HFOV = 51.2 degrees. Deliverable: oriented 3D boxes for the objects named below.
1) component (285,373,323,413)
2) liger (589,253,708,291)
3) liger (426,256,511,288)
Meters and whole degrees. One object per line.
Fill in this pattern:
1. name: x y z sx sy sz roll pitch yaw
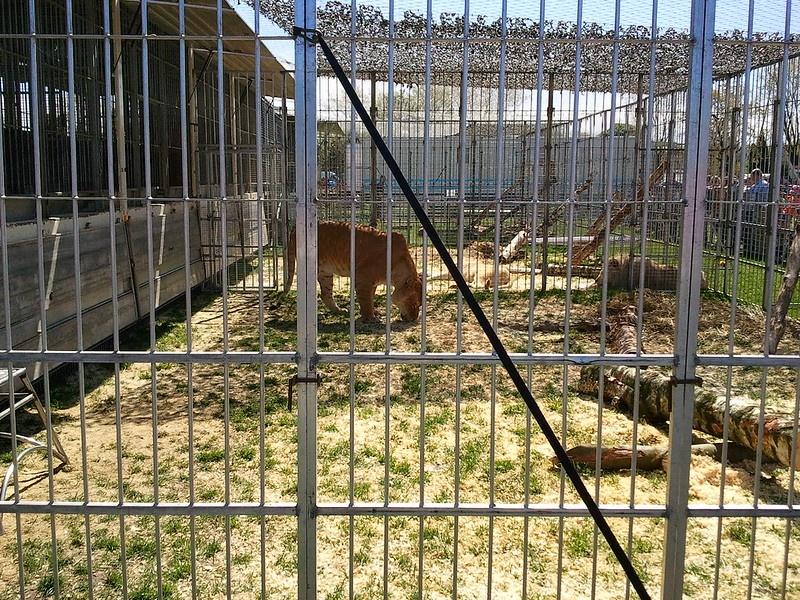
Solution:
1. component: -0.668 0.681 5.859 0.223 0.310 0.175 6 -21 -15
2. liger: 3.577 -0.387 12.027 0.917 0.406 0.546 4 6 5
3. liger: 1.046 -0.408 12.935 0.858 0.557 0.297 5 23 -19
